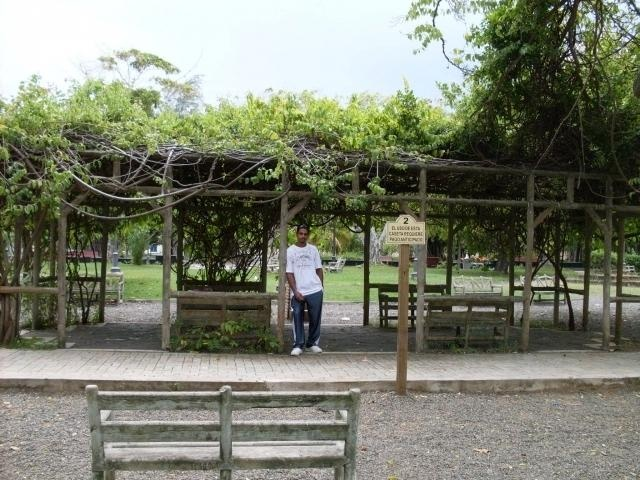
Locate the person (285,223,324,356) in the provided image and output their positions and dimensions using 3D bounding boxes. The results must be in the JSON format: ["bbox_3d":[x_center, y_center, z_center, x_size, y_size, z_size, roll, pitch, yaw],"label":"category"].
[{"bbox_3d":[-0.257,0.843,11.568,0.658,2.250,0.532,-2,9,-23],"label":"person"}]

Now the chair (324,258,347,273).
[{"bbox_3d":[0.801,1.435,39.711,1.028,0.664,0.737,-6,-1,-3],"label":"chair"}]
